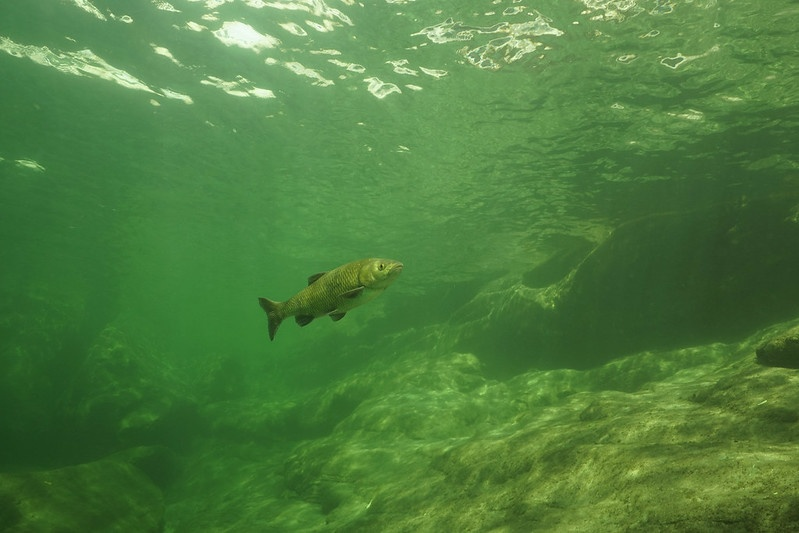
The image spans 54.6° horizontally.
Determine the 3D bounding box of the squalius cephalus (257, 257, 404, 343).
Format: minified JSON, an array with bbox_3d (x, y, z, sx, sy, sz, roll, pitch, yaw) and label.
[{"bbox_3d":[-2.300,1.122,26.927,4.238,3.308,0.505,11,19,6],"label":"squalius cephalus"}]
